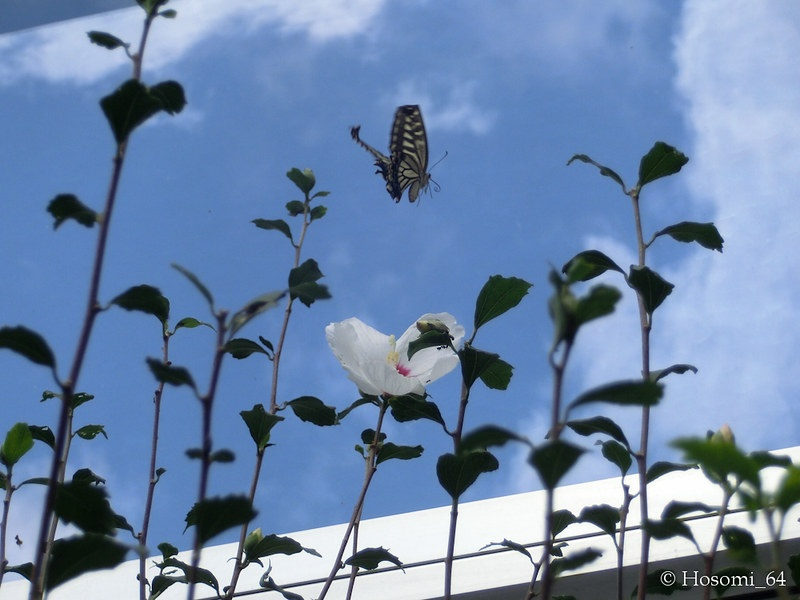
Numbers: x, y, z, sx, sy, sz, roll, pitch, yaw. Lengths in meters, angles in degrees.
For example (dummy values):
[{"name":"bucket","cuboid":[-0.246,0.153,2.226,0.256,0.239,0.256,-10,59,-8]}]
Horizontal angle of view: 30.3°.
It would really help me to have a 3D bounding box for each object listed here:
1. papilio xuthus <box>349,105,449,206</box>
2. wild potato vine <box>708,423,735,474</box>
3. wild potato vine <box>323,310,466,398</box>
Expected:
[{"name":"papilio xuthus","cuboid":[0.011,-0.600,6.236,0.342,0.394,0.582,-2,-24,3]},{"name":"wild potato vine","cuboid":[1.083,0.472,4.959,0.068,0.094,0.090,-2,-30,-1]},{"name":"wild potato vine","cuboid":[-0.028,0.181,5.064,0.455,0.296,0.135,-2,-22,1]}]
